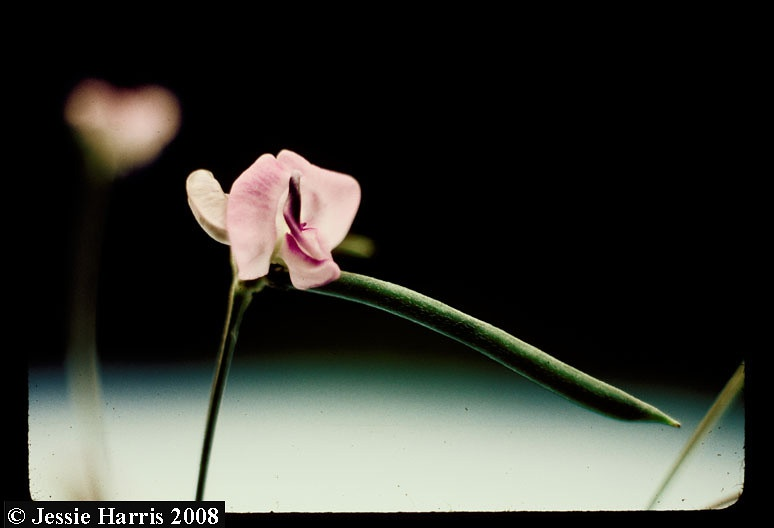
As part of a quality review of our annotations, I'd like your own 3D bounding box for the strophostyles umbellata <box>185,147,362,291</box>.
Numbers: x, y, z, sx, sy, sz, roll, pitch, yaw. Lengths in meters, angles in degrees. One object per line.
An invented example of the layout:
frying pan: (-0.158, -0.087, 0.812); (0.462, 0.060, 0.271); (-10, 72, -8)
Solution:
strophostyles umbellata: (-0.176, -0.080, 1.614); (0.223, 0.239, 0.208); (7, 18, 2)
